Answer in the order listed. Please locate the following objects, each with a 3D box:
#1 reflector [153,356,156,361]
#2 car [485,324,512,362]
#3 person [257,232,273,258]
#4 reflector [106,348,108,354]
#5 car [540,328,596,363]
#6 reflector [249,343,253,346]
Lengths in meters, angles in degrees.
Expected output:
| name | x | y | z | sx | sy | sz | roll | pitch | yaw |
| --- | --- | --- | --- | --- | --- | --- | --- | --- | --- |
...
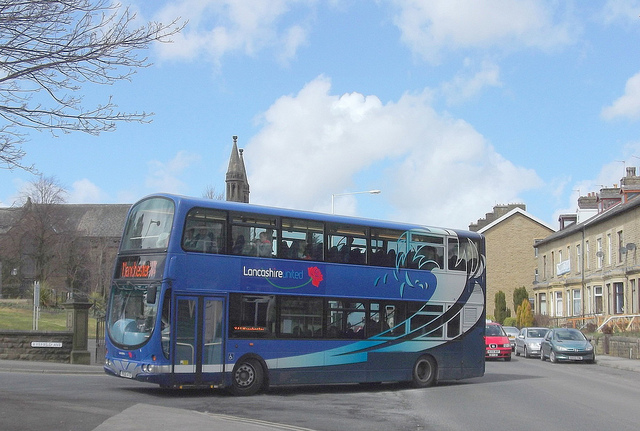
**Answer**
| name | x | y | z | sx | sy | sz | roll | pitch | yaw |
| --- | --- | --- | --- | --- | --- | --- | --- | --- | --- |
| reflector | -4.704 | 4.053 | 18.923 | 0.082 | 0.107 | 0.006 | 1 | -3 | 10 |
| car | 9.413 | 6.772 | 35.229 | 1.218 | 1.859 | 1.523 | 1 | -4 | 15 |
| person | -1.713 | 0.920 | 20.799 | 0.460 | 0.803 | 0.136 | 3 | -3 | -19 |
| reflector | -6.423 | 4.078 | 20.086 | 0.026 | 0.167 | 0.143 | 4 | -4 | -27 |
| car | 12.962 | 6.790 | 34.712 | 2.299 | 1.637 | 2.161 | 1 | -4 | 11 |
| reflector | -2.110 | 3.903 | 20.211 | 0.074 | 0.072 | 0.018 | -1 | 8 | -4 |
